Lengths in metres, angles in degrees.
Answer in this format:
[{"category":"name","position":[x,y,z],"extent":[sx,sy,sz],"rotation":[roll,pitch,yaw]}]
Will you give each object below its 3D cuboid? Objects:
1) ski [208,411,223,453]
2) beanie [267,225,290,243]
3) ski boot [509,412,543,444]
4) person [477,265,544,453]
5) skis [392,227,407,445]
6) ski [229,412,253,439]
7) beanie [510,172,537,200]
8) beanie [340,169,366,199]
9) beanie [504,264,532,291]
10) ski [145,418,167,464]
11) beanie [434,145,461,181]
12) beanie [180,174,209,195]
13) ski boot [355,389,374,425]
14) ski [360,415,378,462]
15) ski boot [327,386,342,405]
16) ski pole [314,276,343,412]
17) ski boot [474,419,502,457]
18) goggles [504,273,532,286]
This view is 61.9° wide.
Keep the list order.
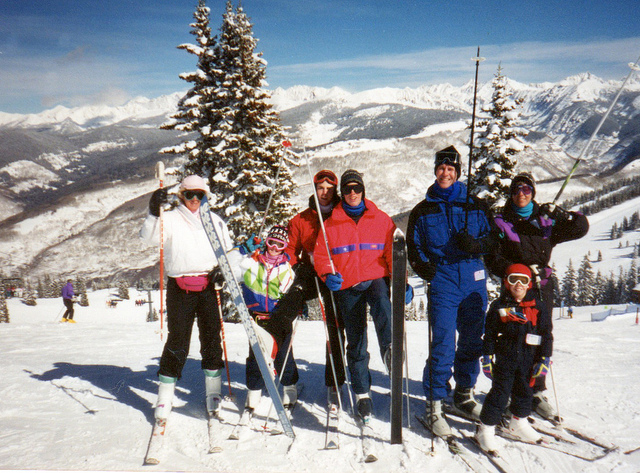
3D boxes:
[{"category":"ski","position":[-1.666,3.253,8.794],"extent":[0.262,0.111,0.974],"rotation":[7,16,-11]},{"category":"beanie","position":[-0.697,-0.057,9.244],"extent":[0.254,0.273,0.336],"rotation":[12,8,2]},{"category":"ski boot","position":[3.296,3.039,8.509],"extent":[0.609,0.436,0.224],"rotation":[17,43,41]},{"category":"person","position":[3.056,1.925,8.498],"extent":[1.117,2.891,0.599],"rotation":[0,5,-10]},{"category":"skis","position":[1.222,1.681,8.236],"extent":[0.278,2.938,0.219],"rotation":[3,3,8]},{"category":"ski","position":[-1.291,3.137,8.751],"extent":[0.142,0.091,0.477],"rotation":[16,35,1]},{"category":"beanie","position":[3.543,-0.891,9.165],"extent":[0.376,0.514,0.302],"rotation":[1,-2,16]},{"category":"beanie","position":[0.549,-0.896,8.965],"extent":[0.368,0.493,0.493],"rotation":[-9,-24,-3]},{"category":"beanie","position":[3.233,0.623,8.636],"extent":[0.334,0.366,0.470],"rotation":[2,-32,23]},{"category":"ski","position":[-2.577,3.243,8.387],"extent":[0.161,0.085,0.636],"rotation":[6,49,5]},{"category":"beanie","position":[2.169,-1.213,8.741],"extent":[0.374,0.531,0.210],"rotation":[3,17,24]},{"category":"beanie","position":[-2.059,-0.864,8.749],"extent":[0.468,0.308,0.266],"rotation":[-1,5,-15]},{"category":"ski boot","position":[0.769,2.844,8.838],"extent":[0.195,0.593,0.247],"rotation":[-2,2,-3]},{"category":"ski","position":[0.806,3.274,8.499],"extent":[0.162,0.185,0.629],"rotation":[-4,24,2]},{"category":"ski boot","position":[0.276,2.791,9.340],"extent":[0.184,0.311,0.301],"rotation":[2,2,5]},{"category":"ski pole","position":[0.182,1.982,9.483],"extent":[0.091,2.459,0.097],"rotation":[-12,-6,-45]},{"category":"ski boot","position":[2.672,3.166,8.421],"extent":[0.232,0.323,0.664],"rotation":[-1,14,-16]},{"category":"goggles","position":[3.231,0.688,8.639],"extent":[0.376,0.201,0.143],"rotation":[2,5,19]}]
